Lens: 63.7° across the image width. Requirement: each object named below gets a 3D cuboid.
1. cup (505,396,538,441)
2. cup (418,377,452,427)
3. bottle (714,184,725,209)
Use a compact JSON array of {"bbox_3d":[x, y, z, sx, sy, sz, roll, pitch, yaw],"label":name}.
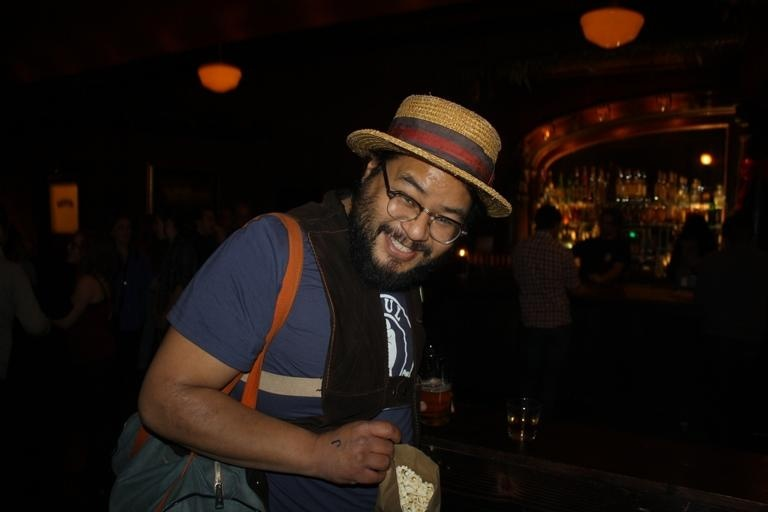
[{"bbox_3d":[1.233,1.463,5.488,0.320,0.317,0.374,4,-8,7],"label":"cup"},{"bbox_3d":[0.450,1.310,5.473,0.301,0.331,0.298,-4,-3,0],"label":"cup"},{"bbox_3d":[4.370,-0.765,8.021,0.168,0.327,0.102,6,0,3],"label":"bottle"}]
